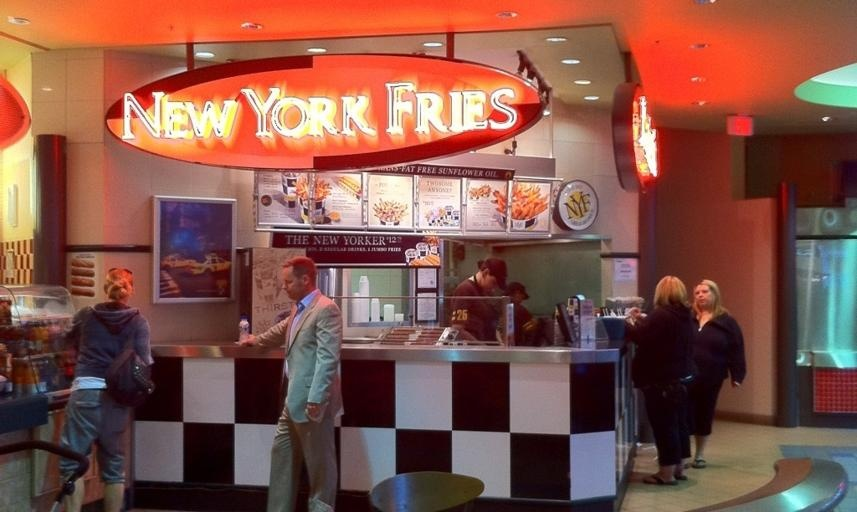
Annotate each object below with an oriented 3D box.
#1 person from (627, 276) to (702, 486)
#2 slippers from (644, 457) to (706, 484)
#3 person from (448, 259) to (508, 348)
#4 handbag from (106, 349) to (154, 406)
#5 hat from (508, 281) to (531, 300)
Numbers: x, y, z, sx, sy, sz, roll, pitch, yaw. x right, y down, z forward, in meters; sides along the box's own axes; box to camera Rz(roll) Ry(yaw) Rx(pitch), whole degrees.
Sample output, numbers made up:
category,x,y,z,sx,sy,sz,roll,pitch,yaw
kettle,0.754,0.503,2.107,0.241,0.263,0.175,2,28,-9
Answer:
category,x,y,z,sx,sy,sz,roll,pitch,yaw
person,2.435,1.298,7.586,0.788,2.143,0.475,1,-1,-4
slippers,2.589,2.315,7.628,0.597,0.208,0.305,-4,1,-11
person,0.493,0.417,7.026,0.488,0.759,0.727,1,0,5
handbag,-2.598,1.100,6.472,0.432,0.503,0.398,-1,-3,-2
hat,0.902,0.353,7.172,0.267,0.129,0.189,19,-2,-43
